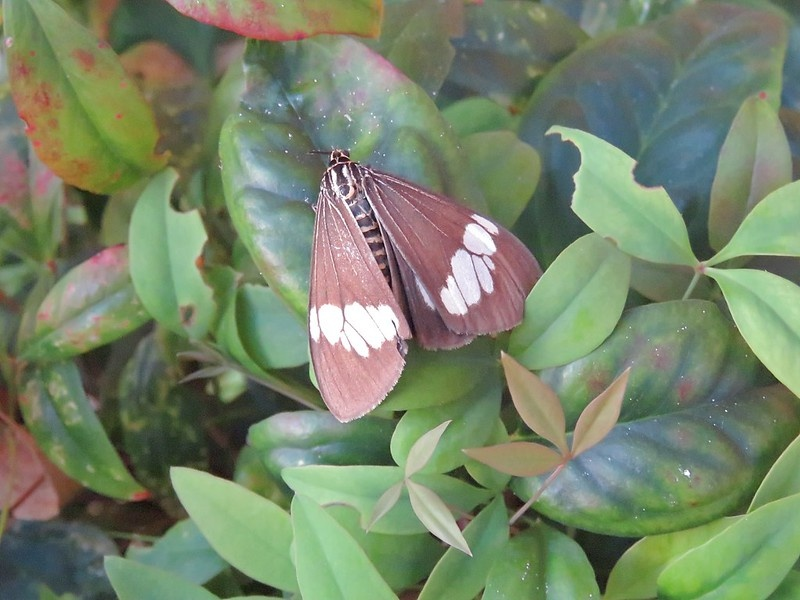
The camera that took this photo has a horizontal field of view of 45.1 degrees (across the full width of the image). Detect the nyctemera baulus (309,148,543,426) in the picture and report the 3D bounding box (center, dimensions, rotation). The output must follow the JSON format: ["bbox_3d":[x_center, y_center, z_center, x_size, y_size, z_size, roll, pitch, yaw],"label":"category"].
[{"bbox_3d":[0.022,-0.039,1.120,0.266,0.225,0.215,-9,33,15],"label":"nyctemera baulus"}]
